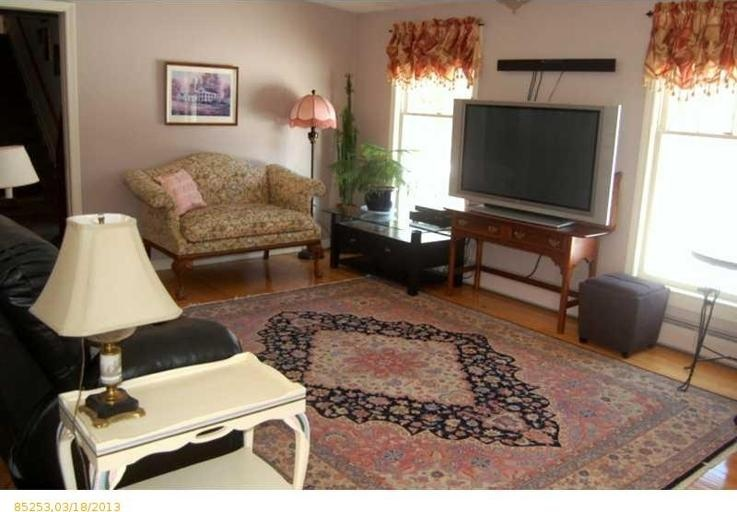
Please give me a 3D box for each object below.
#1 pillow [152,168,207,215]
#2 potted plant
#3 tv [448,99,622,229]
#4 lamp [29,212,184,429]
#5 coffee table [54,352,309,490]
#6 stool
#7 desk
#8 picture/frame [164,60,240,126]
[{"bbox_3d":[-1.730,-0.604,5.008,0.132,0.411,0.441,-28,2,32],"label":"pillow"},{"bbox_3d":[0.040,-0.888,5.815,0.809,0.773,0.815,1,6,1],"label":"potted plant"},{"bbox_3d":[1.412,-0.760,4.450,1.105,0.630,0.118,15,21,41],"label":"tv"},{"bbox_3d":[-0.893,0.208,1.847,0.396,0.664,0.325,17,25,35],"label":"lamp"},{"bbox_3d":[-0.685,0.457,2.003,0.847,0.500,0.488,-7,16,-35],"label":"coffee table"},{"bbox_3d":[1.839,0.348,4.149,0.605,0.623,0.604,13,21,42],"label":"stool"},{"bbox_3d":[1.335,0.097,4.607,0.371,0.596,1.023,-10,19,-37],"label":"desk"},{"bbox_3d":[-1.707,-1.651,5.420,0.738,0.554,0.030,-5,11,-35],"label":"picture/frame"}]
